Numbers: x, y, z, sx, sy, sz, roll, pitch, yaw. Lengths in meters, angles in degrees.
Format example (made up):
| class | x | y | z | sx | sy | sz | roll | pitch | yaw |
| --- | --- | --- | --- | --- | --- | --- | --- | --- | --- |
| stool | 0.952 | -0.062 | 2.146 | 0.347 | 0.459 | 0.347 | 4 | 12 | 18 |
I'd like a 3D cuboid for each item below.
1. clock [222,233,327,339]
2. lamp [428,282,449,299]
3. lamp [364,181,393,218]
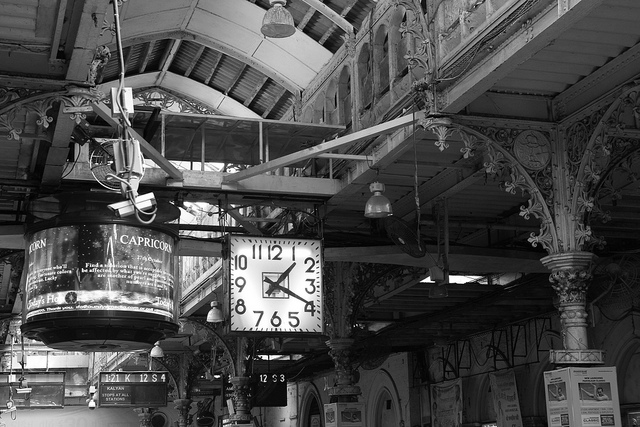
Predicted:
| class | x | y | z | sx | sy | sz | roll | pitch | yaw |
| --- | --- | --- | --- | --- | --- | --- | --- | --- | --- |
| clock | -1.148 | 1.775 | 34.329 | 2.503 | 2.189 | 0.928 | 3 | -21 | -11 |
| lamp | 3.132 | 2.022 | 36.978 | 0.341 | 0.329 | 0.460 | 4 | -21 | -11 |
| lamp | 1.418 | -0.347 | 33.717 | 0.612 | 0.974 | 0.604 | -2 | -20 | 3 |
